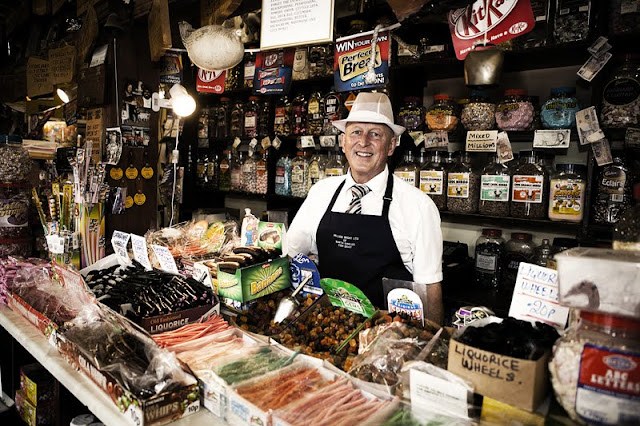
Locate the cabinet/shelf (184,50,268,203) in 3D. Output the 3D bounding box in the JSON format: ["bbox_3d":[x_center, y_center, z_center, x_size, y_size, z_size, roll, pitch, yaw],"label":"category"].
[{"bbox_3d":[-0.844,-0.993,4.831,0.864,1.512,0.487,-1,-4,15],"label":"cabinet/shelf"}]

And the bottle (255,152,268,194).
[{"bbox_3d":[-0.574,-0.392,4.349,0.098,0.403,0.278,-3,5,-22],"label":"bottle"}]

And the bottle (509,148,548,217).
[{"bbox_3d":[1.458,-0.203,3.091,0.243,0.476,0.171,2,5,27],"label":"bottle"}]

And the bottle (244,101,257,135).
[{"bbox_3d":[-0.666,-0.945,4.354,0.173,0.381,0.091,3,6,41],"label":"bottle"}]

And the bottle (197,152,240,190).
[{"bbox_3d":[-1.069,-0.445,4.743,0.399,0.565,0.193,4,7,31],"label":"bottle"}]

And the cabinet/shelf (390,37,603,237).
[{"bbox_3d":[1.258,-0.536,3.095,1.550,1.274,0.514,0,-1,28],"label":"cabinet/shelf"}]

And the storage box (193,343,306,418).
[{"bbox_3d":[-0.326,0.672,1.880,0.279,0.095,0.283,14,19,40],"label":"storage box"}]

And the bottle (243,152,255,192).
[{"bbox_3d":[-0.708,-0.420,4.475,0.112,0.409,0.189,-3,5,-22],"label":"bottle"}]

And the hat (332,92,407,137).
[{"bbox_3d":[0.299,-0.741,3.025,0.489,0.212,0.538,13,20,27],"label":"hat"}]

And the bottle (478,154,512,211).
[{"bbox_3d":[1.257,-0.202,3.182,0.183,0.428,0.149,-2,5,-9],"label":"bottle"}]

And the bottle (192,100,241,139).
[{"bbox_3d":[-1.081,-0.980,4.661,0.448,0.378,0.150,9,13,41],"label":"bottle"}]

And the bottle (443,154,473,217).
[{"bbox_3d":[1.043,-0.230,3.276,0.211,0.448,0.129,1,5,16],"label":"bottle"}]

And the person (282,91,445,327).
[{"bbox_3d":[0.312,-0.070,3.000,1.065,1.481,0.444,2,6,32],"label":"person"}]

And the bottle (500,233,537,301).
[{"bbox_3d":[1.420,0.358,3.187,0.229,0.437,0.279,2,6,28],"label":"bottle"}]
